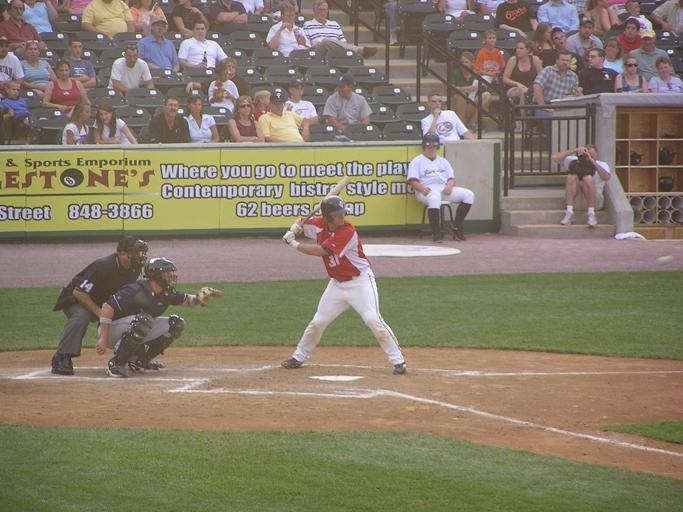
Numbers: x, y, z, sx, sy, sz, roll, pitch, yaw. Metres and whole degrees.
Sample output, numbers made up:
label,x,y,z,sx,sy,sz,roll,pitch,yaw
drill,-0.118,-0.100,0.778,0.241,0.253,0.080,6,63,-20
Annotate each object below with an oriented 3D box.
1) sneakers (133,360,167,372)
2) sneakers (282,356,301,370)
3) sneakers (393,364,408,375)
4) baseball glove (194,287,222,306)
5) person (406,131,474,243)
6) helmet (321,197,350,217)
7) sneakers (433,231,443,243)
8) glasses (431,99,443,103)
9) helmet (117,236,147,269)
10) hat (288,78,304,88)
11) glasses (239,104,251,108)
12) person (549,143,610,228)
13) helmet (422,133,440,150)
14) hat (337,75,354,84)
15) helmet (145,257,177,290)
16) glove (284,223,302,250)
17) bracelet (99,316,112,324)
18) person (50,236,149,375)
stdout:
label,x,y,z,sx,sy,sz,roll,pitch,yaw
sneakers,-2.709,1.531,17.867,0.442,0.153,0.139,-4,21,-1
sneakers,-0.747,1.509,17.996,0.326,0.114,0.142,1,18,-25
sneakers,0.828,1.563,17.644,0.159,0.082,0.255,-10,12,-40
baseball glove,-1.834,0.518,17.468,0.204,0.234,0.390,21,-40,-38
person,1.940,-1.414,25.895,1.058,2.168,1.131,-1,3,-22
helmet,-0.122,-0.678,17.480,0.361,0.320,0.279,0,3,-1
sneakers,1.974,-0.386,25.599,0.234,0.200,0.156,1,3,9
glasses,1.968,-3.245,26.496,0.169,0.080,0.209,-1,-5,2
helmet,-2.867,-0.077,17.514,0.457,0.391,0.379,-2,11,-21
hat,-0.971,-3.600,26.358,0.229,0.144,0.297,-1,5,-18
glasses,-1.956,-3.046,25.647,0.215,0.075,0.123,-1,3,-15
person,5.045,-1.439,26.211,0.973,1.681,0.635,0,3,10
helmet,1.799,-2.333,25.687,0.321,0.318,0.360,0,3,6
hat,0.063,-3.677,26.402,0.329,0.190,0.327,0,3,12
helmet,-2.515,0.240,17.515,0.508,0.448,0.424,4,-1,14
glove,-0.724,-0.271,17.746,0.125,0.335,0.265,13,18,23
bracelet,-3.235,0.869,17.303,0.144,0.095,0.104,-1,3,-10
person,-3.364,0.685,17.471,1.296,1.895,0.536,-1,3,-11
